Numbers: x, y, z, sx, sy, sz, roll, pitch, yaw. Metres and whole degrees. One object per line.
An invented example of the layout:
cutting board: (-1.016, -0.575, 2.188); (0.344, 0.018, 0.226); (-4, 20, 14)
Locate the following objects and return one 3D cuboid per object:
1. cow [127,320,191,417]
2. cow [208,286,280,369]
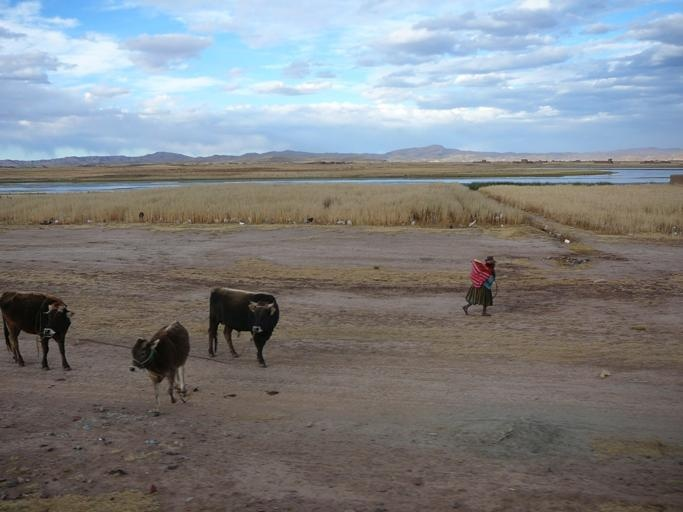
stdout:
cow: (-2.860, 1.757, 10.093); (0.735, 1.197, 1.187); (-2, 9, -1)
cow: (-1.748, 1.315, 11.893); (1.123, 1.158, 2.619); (5, -2, -34)
